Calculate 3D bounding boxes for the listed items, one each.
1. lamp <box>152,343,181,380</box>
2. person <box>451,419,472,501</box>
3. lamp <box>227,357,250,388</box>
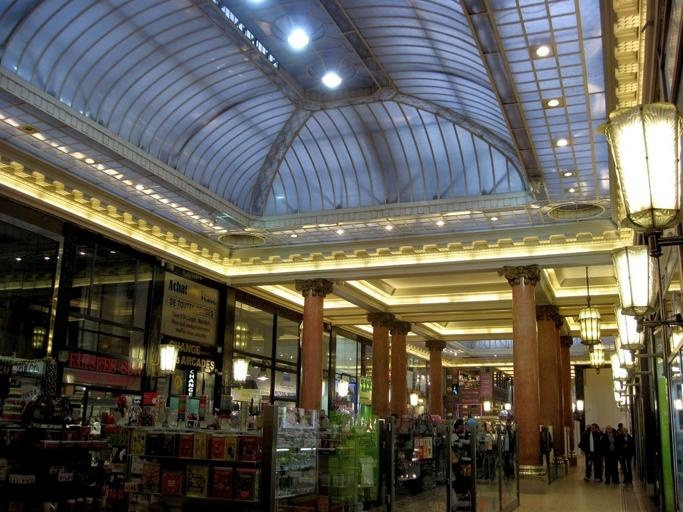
[{"bbox_3d":[-4.444,2.507,13.930,0.409,0.953,2.023,7,-20,-20],"label":"lamp"},{"bbox_3d":[1.887,3.216,8.749,0.397,1.187,0.306,4,-19,-14],"label":"person"},{"bbox_3d":[-3.304,3.631,17.631,0.476,0.936,1.953,3,-19,-11],"label":"lamp"}]
